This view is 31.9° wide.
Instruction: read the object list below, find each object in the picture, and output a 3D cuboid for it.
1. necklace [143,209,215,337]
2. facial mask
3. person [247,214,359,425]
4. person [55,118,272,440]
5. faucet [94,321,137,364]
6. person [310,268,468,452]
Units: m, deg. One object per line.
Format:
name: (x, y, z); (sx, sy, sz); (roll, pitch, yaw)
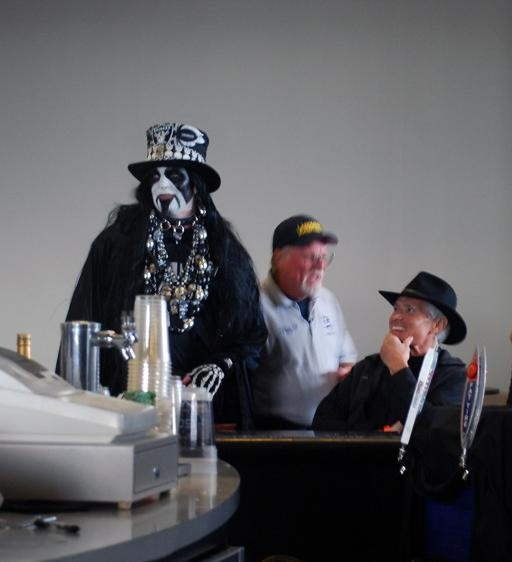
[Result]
necklace: (-0.349, -0.049, 3.982); (0.264, 0.575, 0.210); (-10, 15, -41)
facial mask: (0.690, 0.058, 3.684); (0.285, 0.319, 0.340); (8, 10, 12)
person: (0.219, 0.071, 4.272); (0.373, 1.107, 0.324); (-5, 10, -31)
person: (-0.367, -0.096, 3.975); (0.671, 1.692, 0.551); (-5, 13, -20)
faucet: (-0.304, 0.124, 1.847); (0.156, 0.092, 0.036); (-3, -10, 40)
person: (0.580, 0.345, 3.517); (0.441, 0.814, 0.544); (16, -8, -35)
